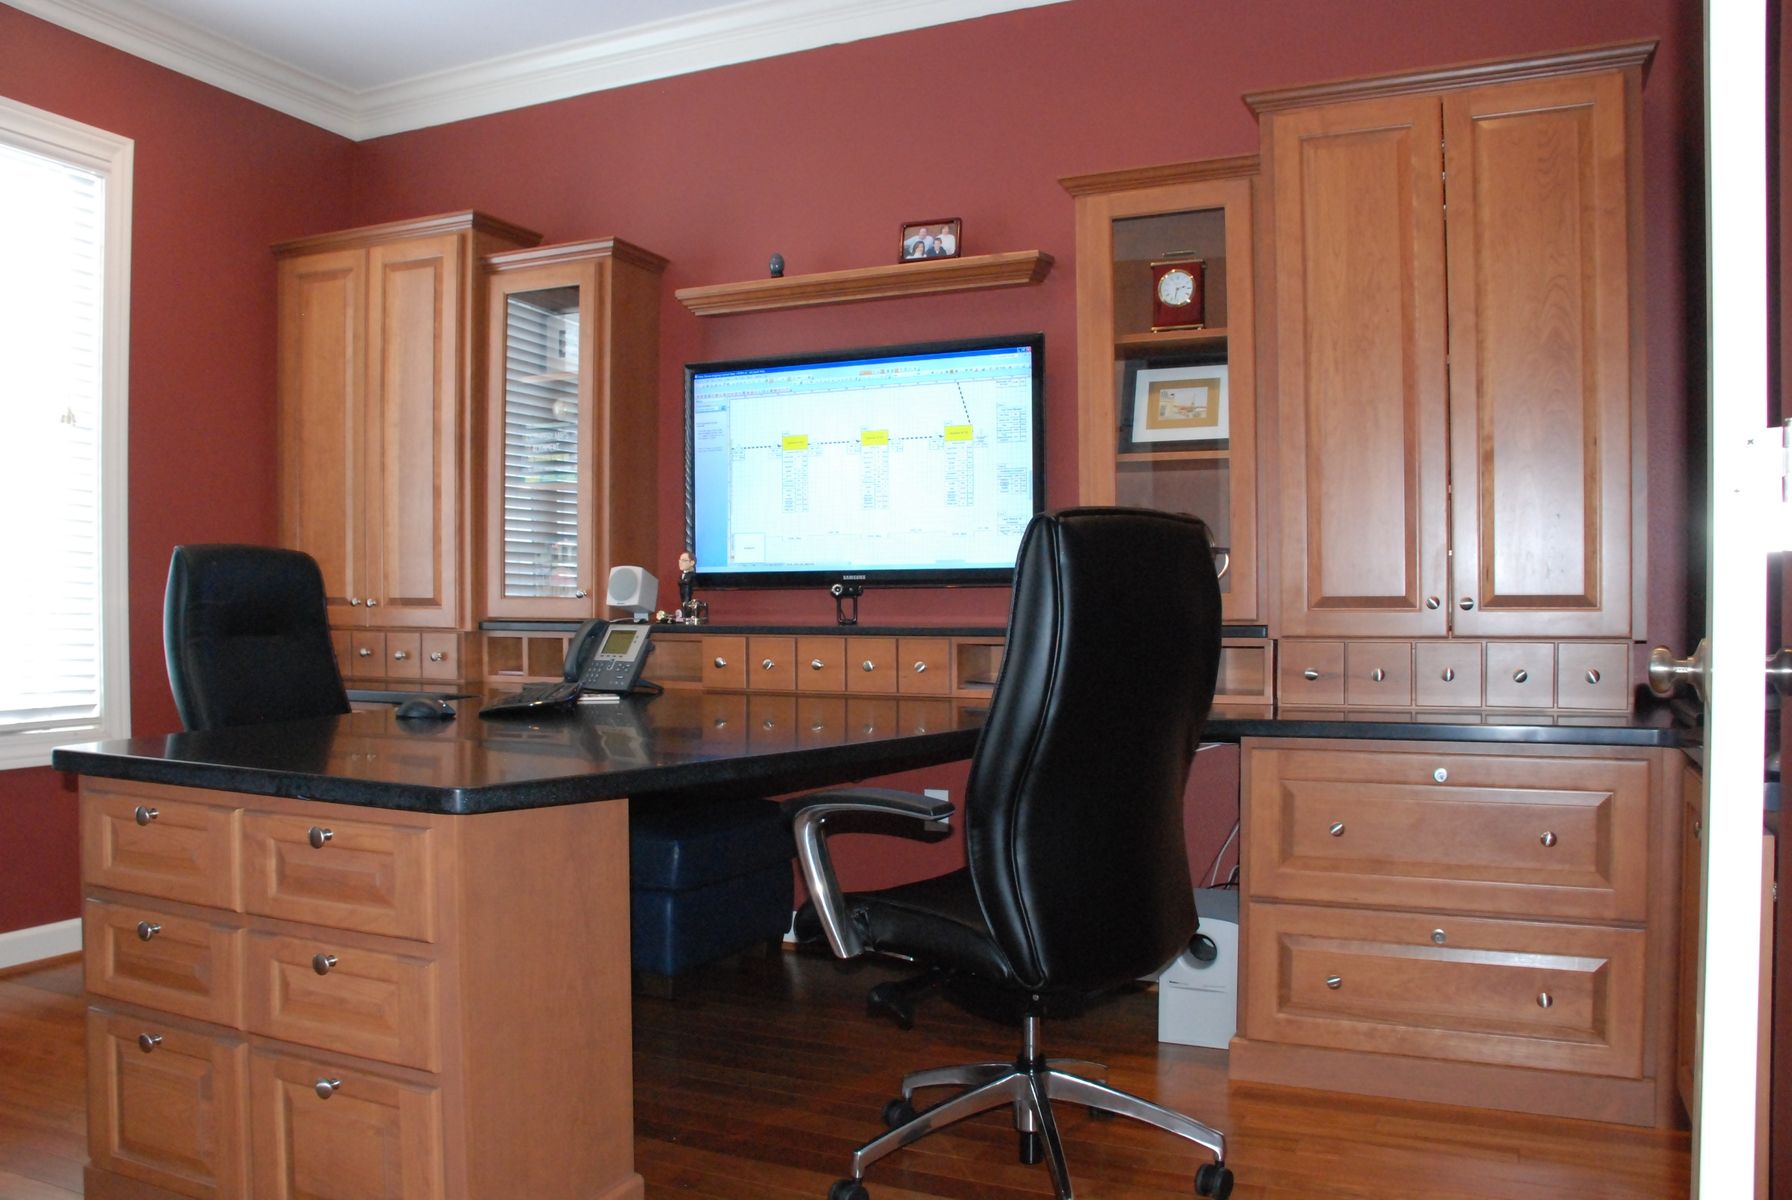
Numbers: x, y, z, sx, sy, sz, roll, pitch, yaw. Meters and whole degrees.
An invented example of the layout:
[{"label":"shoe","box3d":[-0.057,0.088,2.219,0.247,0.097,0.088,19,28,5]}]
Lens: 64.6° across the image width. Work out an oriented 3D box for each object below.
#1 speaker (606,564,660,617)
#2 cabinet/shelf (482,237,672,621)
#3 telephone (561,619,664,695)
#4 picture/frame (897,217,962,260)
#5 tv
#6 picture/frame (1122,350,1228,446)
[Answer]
[{"label":"speaker","box3d":[-0.901,-0.026,4.797,0.178,0.158,0.096,3,-9,25]},{"label":"cabinet/shelf","box3d":[-1.189,-0.616,5.275,0.647,1.386,0.375,0,5,-15]},{"label":"telephone","box3d":[-0.880,0.183,4.431,0.259,0.224,0.192,4,-3,23]},{"label":"picture/frame","box3d":[0.122,-1.250,4.937,0.224,0.151,0.022,0,-9,12]},{"label":"tv","box3d":[-0.072,-0.463,4.918,1.012,0.577,0.046,0,-1,18]},{"label":"picture/frame","box3d":[0.861,-0.605,4.330,0.313,0.251,0.015,1,-2,16]}]
